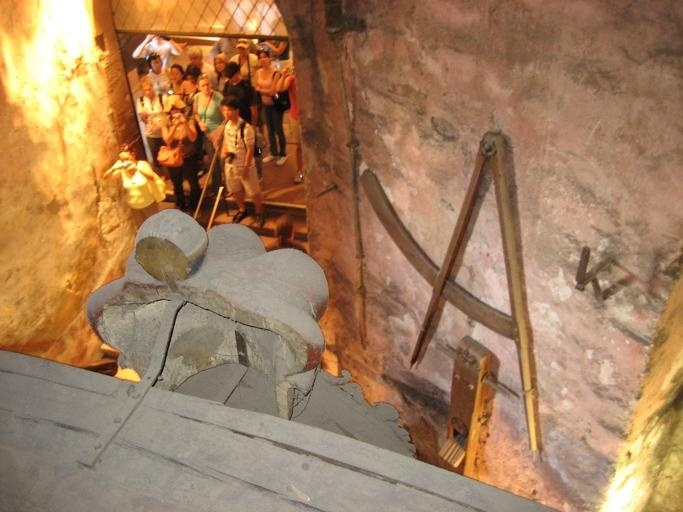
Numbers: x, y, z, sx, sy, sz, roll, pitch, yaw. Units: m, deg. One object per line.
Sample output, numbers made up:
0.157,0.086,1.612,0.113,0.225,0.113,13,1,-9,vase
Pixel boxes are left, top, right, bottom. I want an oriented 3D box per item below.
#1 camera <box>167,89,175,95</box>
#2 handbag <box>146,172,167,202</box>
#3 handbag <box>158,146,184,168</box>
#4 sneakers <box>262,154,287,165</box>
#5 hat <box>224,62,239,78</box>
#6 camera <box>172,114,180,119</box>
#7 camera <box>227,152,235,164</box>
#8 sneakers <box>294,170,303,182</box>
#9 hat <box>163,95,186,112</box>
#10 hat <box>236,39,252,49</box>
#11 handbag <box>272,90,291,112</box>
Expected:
-1.872,-1.790,6.805,0.104,0.043,0.146,3,30,-13,camera
-1.825,-0.664,6.096,0.054,0.257,0.180,10,27,35,handbag
-1.761,-1.027,6.398,0.167,0.191,0.092,12,28,14,handbag
-0.820,-1.173,7.577,0.328,0.154,0.125,3,63,-2,sneakers
-1.152,-1.932,6.466,0.143,0.170,0.115,-7,13,-33,hat
-1.680,-1.397,6.281,0.051,0.075,0.061,-1,16,6,camera
-1.087,-0.954,6.057,0.080,0.076,0.108,17,6,-13,camera
-0.498,-0.900,7.086,0.068,0.077,0.176,2,44,8,sneakers
-1.675,-1.528,6.263,0.171,0.062,0.187,6,46,4,hat
-1.156,-2.471,7.270,0.127,0.074,0.215,1,35,1,hat
-0.656,-1.725,6.869,0.169,0.158,0.267,5,-1,7,handbag
